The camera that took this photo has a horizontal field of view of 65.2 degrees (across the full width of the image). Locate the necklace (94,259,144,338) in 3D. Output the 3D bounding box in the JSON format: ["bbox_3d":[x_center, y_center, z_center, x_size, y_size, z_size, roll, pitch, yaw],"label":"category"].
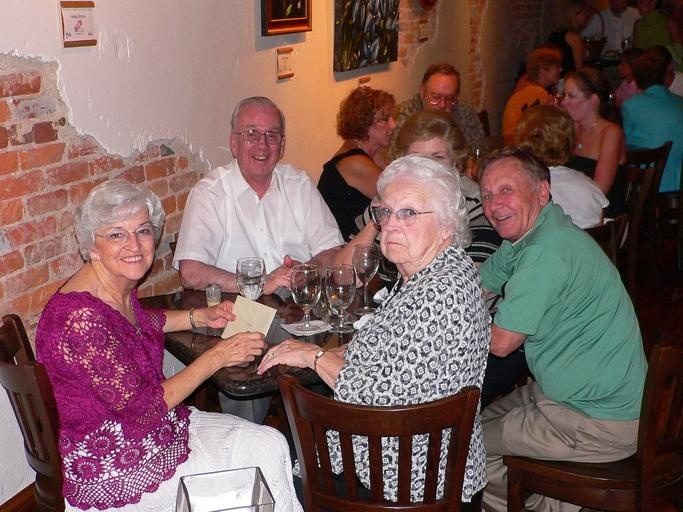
[{"bbox_3d":[-0.732,0.135,1.769,0.181,0.206,0.076,-4,11,-8],"label":"necklace"}]

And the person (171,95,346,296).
[{"bbox_3d":[-0.432,-0.242,2.783,0.919,1.170,0.717,-7,14,-30],"label":"person"}]

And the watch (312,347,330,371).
[{"bbox_3d":[-0.066,0.329,1.707,0.017,0.062,0.048,20,17,1],"label":"watch"}]

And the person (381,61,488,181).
[{"bbox_3d":[0.840,-0.957,4.660,0.860,1.407,0.657,-10,25,-15],"label":"person"}]

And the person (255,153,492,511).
[{"bbox_3d":[0.096,0.139,2.048,0.826,1.270,0.825,3,6,13],"label":"person"}]

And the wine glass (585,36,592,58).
[{"bbox_3d":[3.343,-2.827,7.251,0.097,0.235,0.081,5,16,24],"label":"wine glass"}]

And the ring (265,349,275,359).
[{"bbox_3d":[-0.234,0.322,1.768,0.023,0.012,0.021,-47,27,-22],"label":"ring"}]

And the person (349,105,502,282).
[{"bbox_3d":[0.477,-0.243,2.823,0.852,1.175,0.573,-4,18,6],"label":"person"}]

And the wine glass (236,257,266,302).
[{"bbox_3d":[-0.355,0.088,2.109,0.138,0.229,0.143,0,5,-3],"label":"wine glass"}]
